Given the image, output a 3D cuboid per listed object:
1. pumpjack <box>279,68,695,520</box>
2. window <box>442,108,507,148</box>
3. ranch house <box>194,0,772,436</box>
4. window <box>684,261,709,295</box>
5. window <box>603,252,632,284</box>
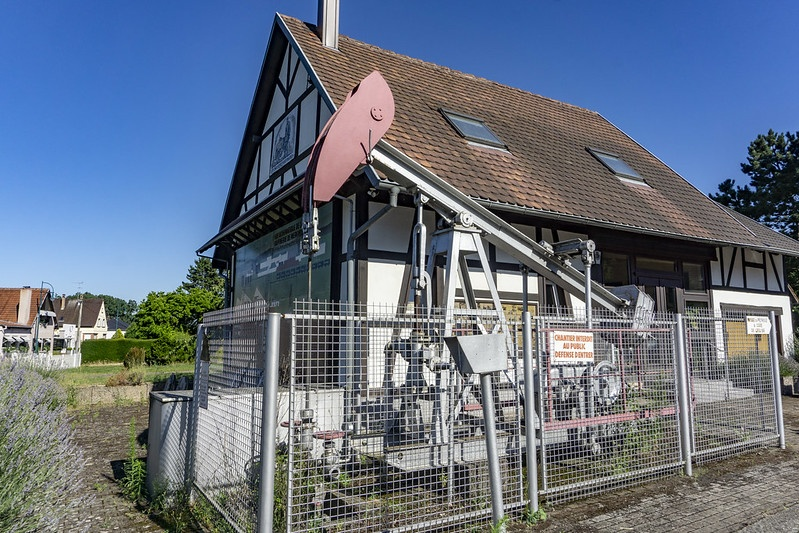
[{"bbox_3d":[0.871,1.373,11.234,7.793,7.669,4.478,7,-12,-34],"label":"pumpjack"},{"bbox_3d":[1.768,-3.327,14.585,1.712,1.512,0.194,10,-56,-37],"label":"window"},{"bbox_3d":[2.746,-1.925,16.207,12.381,8.890,8.478,2,-3,-33],"label":"ranch house"},{"bbox_3d":[8.014,0.310,16.232,0.766,0.893,0.059,2,-4,-29],"label":"window"},{"bbox_3d":[5.373,0.059,14.776,0.640,0.833,0.079,1,-5,-17],"label":"window"}]
